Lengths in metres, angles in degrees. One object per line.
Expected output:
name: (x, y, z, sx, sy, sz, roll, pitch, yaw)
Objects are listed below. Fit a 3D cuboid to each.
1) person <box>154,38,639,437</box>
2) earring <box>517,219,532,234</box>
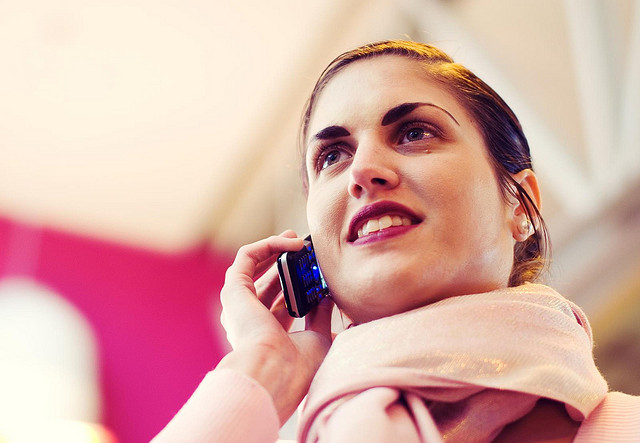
person: (0.292, 0.038, 2.008, 1.140, 0.667, 1.069, -19, 41, 13)
earring: (0.602, 0.014, 1.900, 0.043, 0.041, 0.011, 0, 2, -43)
